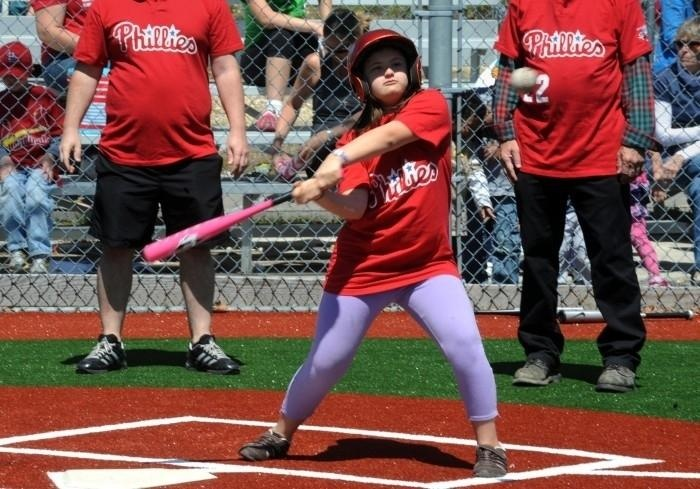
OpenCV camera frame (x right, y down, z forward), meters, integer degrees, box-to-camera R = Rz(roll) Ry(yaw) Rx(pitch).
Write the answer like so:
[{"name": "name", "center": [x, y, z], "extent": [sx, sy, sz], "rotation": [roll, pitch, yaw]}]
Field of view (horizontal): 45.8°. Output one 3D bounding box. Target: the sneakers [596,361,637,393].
[{"name": "sneakers", "center": [1.455, 0.719, 4.525], "extent": [0.217, 0.153, 0.162], "rotation": [2, 9, 10]}]

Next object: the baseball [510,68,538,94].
[{"name": "baseball", "center": [0.919, -0.863, 4.374], "extent": [0.139, 0.129, 0.223], "rotation": [2, 9, 12]}]

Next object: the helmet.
[{"name": "helmet", "center": [0.146, -0.777, 3.601], "extent": [0.304, 0.288, 0.243], "rotation": [-10, -17, -5]}]

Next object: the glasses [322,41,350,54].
[{"name": "glasses", "center": [-0.134, -1.571, 6.606], "extent": [0.109, 0.106, 0.410], "rotation": [-6, 10, -34]}]

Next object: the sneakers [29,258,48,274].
[{"name": "sneakers", "center": [-2.486, 0.175, 6.565], "extent": [0.111, 0.068, 0.159], "rotation": [1, 6, -16]}]

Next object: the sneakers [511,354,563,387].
[{"name": "sneakers", "center": [1.044, 0.703, 4.641], "extent": [0.270, 0.158, 0.194], "rotation": [2, 9, 7]}]

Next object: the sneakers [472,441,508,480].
[{"name": "sneakers", "center": [0.580, 0.892, 3.414], "extent": [0.137, 0.122, 0.101], "rotation": [2, 9, 7]}]

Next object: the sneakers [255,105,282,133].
[{"name": "sneakers", "center": [-0.705, -1.056, 7.030], "extent": [0.160, 0.097, 0.226], "rotation": [-5, -34, 19]}]

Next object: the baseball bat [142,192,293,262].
[{"name": "baseball bat", "center": [-0.871, -0.107, 5.433], "extent": [1.344, 0.161, 0.141], "rotation": [-20, -37, 5]}]

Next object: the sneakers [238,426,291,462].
[{"name": "sneakers", "center": [-0.365, 0.870, 3.588], "extent": [0.223, 0.080, 0.109], "rotation": [3, 12, -25]}]

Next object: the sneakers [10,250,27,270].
[{"name": "sneakers", "center": [-2.701, 0.137, 6.636], "extent": [0.122, 0.166, 0.122], "rotation": [-2, 27, -2]}]
